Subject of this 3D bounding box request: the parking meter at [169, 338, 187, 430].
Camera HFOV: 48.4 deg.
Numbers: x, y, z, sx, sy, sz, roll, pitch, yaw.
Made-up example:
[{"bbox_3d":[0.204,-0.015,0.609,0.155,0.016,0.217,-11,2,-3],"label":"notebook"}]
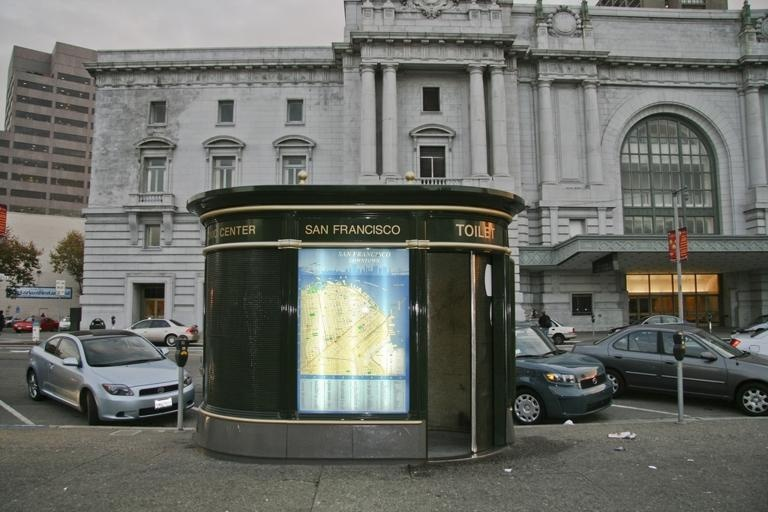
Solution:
[{"bbox_3d":[-9.152,5.719,38.463,0.717,4.163,0.597,5,-11,-26],"label":"parking meter"}]
